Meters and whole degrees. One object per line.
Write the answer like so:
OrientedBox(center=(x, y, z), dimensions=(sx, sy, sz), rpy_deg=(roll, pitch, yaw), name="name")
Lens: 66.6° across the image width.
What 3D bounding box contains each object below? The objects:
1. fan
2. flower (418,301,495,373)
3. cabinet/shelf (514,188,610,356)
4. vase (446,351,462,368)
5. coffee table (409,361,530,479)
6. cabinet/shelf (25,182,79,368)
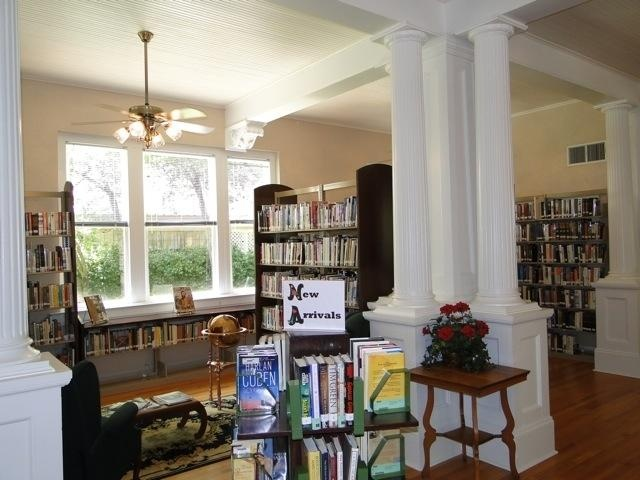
OrientedBox(center=(-2.442, -1.594, 6.367), dimensions=(1.060, 0.184, 0.988), rpy_deg=(-1, -5, 35), name="fan")
OrientedBox(center=(1.200, 0.835, 4.438), dimensions=(0.571, 0.619, 0.652), rpy_deg=(-5, 5, -34), name="flower")
OrientedBox(center=(3.846, 0.345, 7.750), dimensions=(1.345, 1.800, 0.385), rpy_deg=(-4, 2, 44), name="cabinet/shelf")
OrientedBox(center=(1.188, 1.068, 4.328), dimensions=(0.136, 0.103, 0.125), rpy_deg=(4, -5, -24), name="vase")
OrientedBox(center=(1.317, 1.601, 4.298), dimensions=(0.850, 0.810, 0.750), rpy_deg=(-6, 2, -37), name="coffee table")
OrientedBox(center=(-3.528, 0.445, 6.425), dimensions=(0.653, 2.606, 0.753), rpy_deg=(-6, 1, -30), name="cabinet/shelf")
